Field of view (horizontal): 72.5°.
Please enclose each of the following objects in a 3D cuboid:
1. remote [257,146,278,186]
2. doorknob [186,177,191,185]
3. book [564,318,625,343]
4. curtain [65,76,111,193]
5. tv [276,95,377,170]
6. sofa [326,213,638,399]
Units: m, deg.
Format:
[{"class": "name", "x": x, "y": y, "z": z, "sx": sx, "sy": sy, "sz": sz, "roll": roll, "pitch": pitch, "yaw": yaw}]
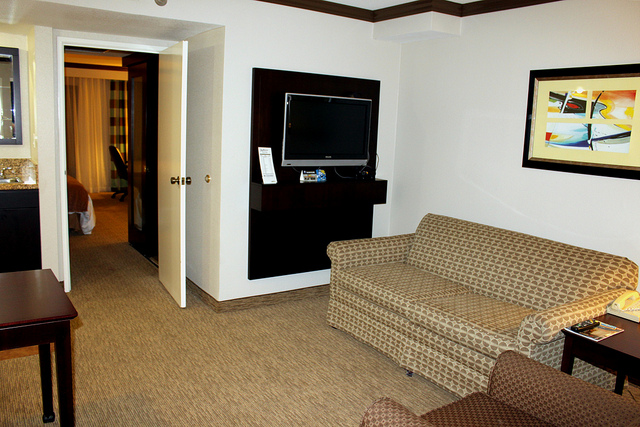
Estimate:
[{"class": "remote", "x": -0.505, "y": -0.465, "z": 4.225, "sx": 0.198, "sy": 0.340, "sz": 0.302, "roll": 0, "pitch": 15, "yaw": -11}, {"class": "doorknob", "x": -1.284, "y": -0.319, "z": 4.274, "sx": 0.048, "sy": 0.077, "sz": 0.018, "roll": 0, "pitch": 0, "yaw": 3}, {"class": "book", "x": 1.787, "y": 0.745, "z": 2.843, "sx": 0.361, "sy": 0.034, "sz": 0.206, "roll": -5, "pitch": 17, "yaw": -30}, {"class": "curtain", "x": -5.198, "y": -1.746, "z": 9.855, "sx": 0.946, "sy": 2.539, "sz": 0.422, "roll": -4, "pitch": 16, "yaw": -25}, {"class": "tv", "x": 0.083, "y": -0.832, "z": 4.471, "sx": 1.010, "sy": 0.666, "sz": 0.207, "roll": -2, "pitch": 16, "yaw": -20}, {"class": "sofa", "x": 1.254, "y": 0.712, "z": 3.740, "sx": 1.342, "sy": 1.047, "sz": 1.994, "roll": -9, "pitch": 19, "yaw": -38}]
